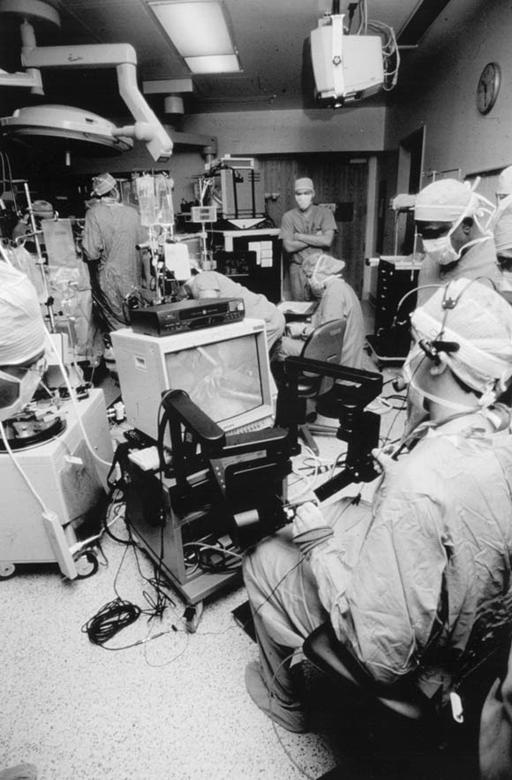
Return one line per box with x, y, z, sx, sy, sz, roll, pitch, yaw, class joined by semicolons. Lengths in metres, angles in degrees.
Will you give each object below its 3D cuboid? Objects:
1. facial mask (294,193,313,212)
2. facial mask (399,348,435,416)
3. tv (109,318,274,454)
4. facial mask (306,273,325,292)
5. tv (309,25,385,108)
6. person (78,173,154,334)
0.408;-1.624;4.990;0.143;0.175;0.175;1;7;8;facial mask
0.373;-0.014;1.341;0.044;0.128;0.086;0;7;-31;facial mask
-0.183;-0.065;1.976;0.385;0.505;0.543;0;15;40;tv
0.343;-0.619;3.333;0.050;0.091;0.063;-31;-22;26;facial mask
0.474;-1.739;2.994;0.363;0.351;0.235;-1;20;12;tv
-0.986;-0.925;4.088;0.477;1.162;0.934;-10;20;-15;person
